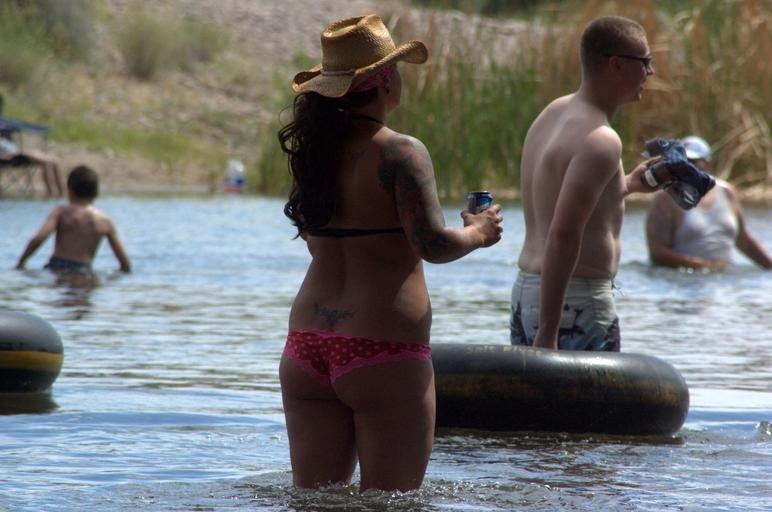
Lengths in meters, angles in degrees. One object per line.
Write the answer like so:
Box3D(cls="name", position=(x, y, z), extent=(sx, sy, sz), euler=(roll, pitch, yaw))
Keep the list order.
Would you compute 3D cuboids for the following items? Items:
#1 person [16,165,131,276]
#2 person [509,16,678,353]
Box3D(cls="person", position=(-2.930, -0.270, 18.074), extent=(1.172, 1.270, 1.539), euler=(0, 13, -16))
Box3D(cls="person", position=(1.559, -0.545, 14.732), extent=(0.888, 2.700, 0.825), euler=(1, 14, -12))
